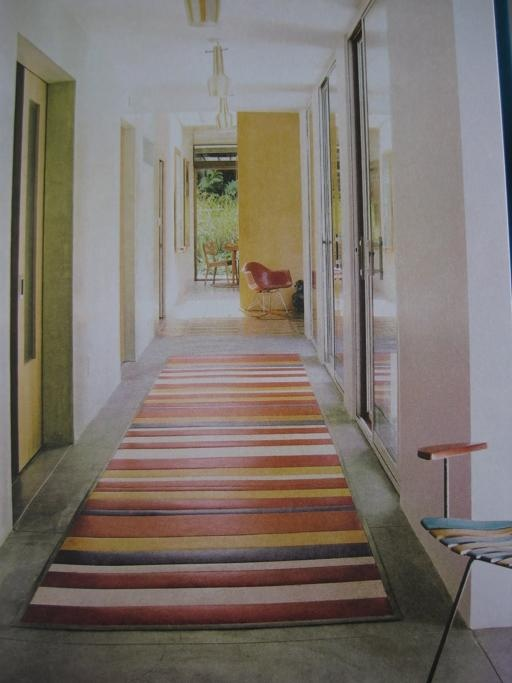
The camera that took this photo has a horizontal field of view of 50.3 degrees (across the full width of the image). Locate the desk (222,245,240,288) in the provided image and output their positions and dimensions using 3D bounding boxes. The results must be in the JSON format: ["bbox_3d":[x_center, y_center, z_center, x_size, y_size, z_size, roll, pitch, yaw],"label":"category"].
[{"bbox_3d":[-0.666,-2.239,14.689,0.366,0.555,0.544,10,11,1],"label":"desk"}]

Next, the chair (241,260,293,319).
[{"bbox_3d":[0.163,-0.852,8.736,0.685,0.928,0.606,-6,4,-30],"label":"chair"}]
